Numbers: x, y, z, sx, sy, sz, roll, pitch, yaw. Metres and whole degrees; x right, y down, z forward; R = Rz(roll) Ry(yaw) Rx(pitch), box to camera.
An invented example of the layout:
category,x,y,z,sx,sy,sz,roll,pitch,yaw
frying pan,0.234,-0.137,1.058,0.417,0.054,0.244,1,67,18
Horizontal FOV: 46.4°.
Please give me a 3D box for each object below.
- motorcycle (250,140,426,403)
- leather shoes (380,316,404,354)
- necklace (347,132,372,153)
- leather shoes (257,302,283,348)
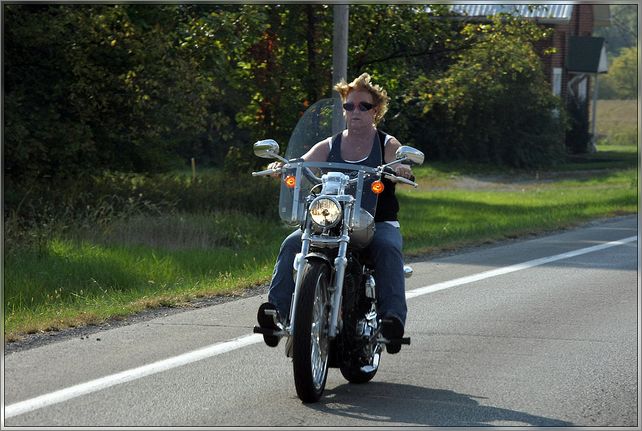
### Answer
category,x,y,z,sx,sy,sz,roll,pitch,yaw
motorcycle,0.099,0.616,7.889,1.643,2.643,1.175,-3,15,-13
leather shoes,0.764,1.279,7.906,0.258,0.364,0.096,0,19,23
necklace,0.435,-0.822,8.511,0.210,0.156,0.272,3,4,7
leather shoes,-0.532,1.095,7.763,0.187,0.548,0.215,0,12,4
